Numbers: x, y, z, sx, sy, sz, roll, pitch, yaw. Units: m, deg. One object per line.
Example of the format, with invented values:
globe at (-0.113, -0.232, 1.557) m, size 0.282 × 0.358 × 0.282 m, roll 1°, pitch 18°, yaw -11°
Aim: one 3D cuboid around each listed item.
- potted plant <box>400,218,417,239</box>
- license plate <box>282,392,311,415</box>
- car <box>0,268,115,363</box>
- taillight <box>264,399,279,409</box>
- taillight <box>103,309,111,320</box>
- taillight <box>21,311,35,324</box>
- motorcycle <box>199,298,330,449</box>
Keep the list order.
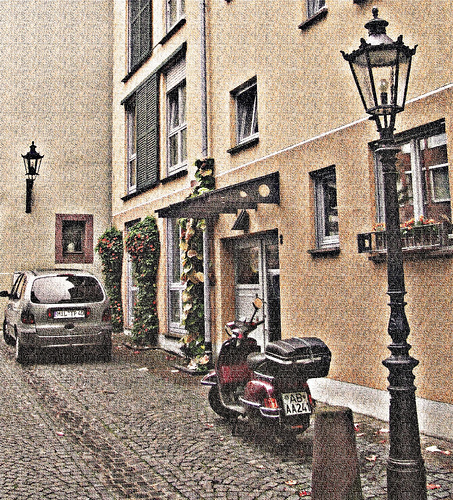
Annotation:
potted plant at (1.627, -0.193, 6.817) m, size 0.136 × 0.185 × 0.240 m, roll -1°, pitch 1°, yaw 12°
license plate at (0.586, 1.319, 6.500) m, size 0.258 × 0.184 × 0.026 m, roll 0°, pitch -37°, yaw -34°
car at (-2.754, 0.885, 12.139) m, size 1.195 × 0.871 × 1.919 m, roll 0°, pitch 1°, yaw -20°
taillight at (0.387, 1.313, 6.500) m, size 0.097 × 0.043 × 0.135 m, roll 2°, pitch -2°, yaw 7°
taillight at (-1.844, 1.010, 11.788) m, size 0.088 × 0.137 × 0.033 m, roll 4°, pitch -42°, yaw -15°
taillight at (-2.942, 1.007, 11.301) m, size 0.241 × 0.180 × 0.063 m, roll -1°, pitch 1°, yaw 38°
motorcycle at (0.358, 1.065, 7.012) m, size 0.716 × 1.297 × 1.284 m, roll -2°, pitch 1°, yaw -16°
